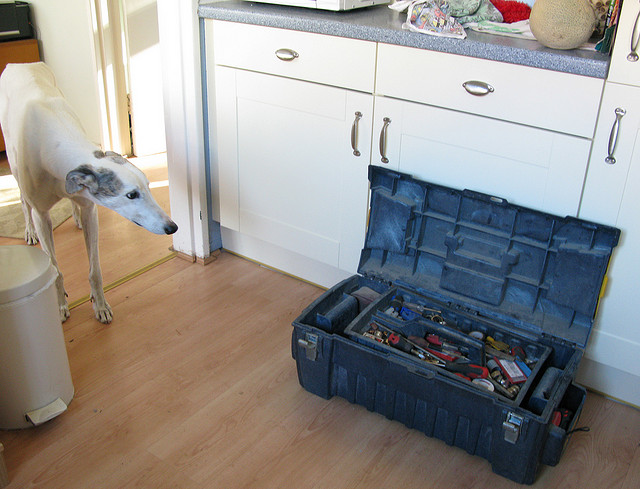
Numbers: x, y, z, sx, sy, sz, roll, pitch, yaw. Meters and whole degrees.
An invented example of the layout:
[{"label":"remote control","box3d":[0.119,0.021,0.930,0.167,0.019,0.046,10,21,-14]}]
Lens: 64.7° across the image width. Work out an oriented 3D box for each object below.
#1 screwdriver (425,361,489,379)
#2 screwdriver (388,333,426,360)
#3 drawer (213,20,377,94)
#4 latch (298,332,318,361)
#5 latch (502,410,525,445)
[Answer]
[{"label":"screwdriver","box3d":[0.477,0.447,1.784,0.123,0.031,0.035,11,28,7]},{"label":"screwdriver","box3d":[0.325,0.381,1.890,0.152,0.041,0.068,13,35,23]},{"label":"drawer","box3d":[-0.083,-0.804,2.095,0.484,0.123,0.479,16,35,18]},{"label":"latch","box3d":[-0.044,0.381,1.903,0.068,0.099,0.063,15,40,21]},{"label":"latch","box3d":[0.634,0.588,1.629,0.089,0.097,0.053,-6,14,-38]}]
